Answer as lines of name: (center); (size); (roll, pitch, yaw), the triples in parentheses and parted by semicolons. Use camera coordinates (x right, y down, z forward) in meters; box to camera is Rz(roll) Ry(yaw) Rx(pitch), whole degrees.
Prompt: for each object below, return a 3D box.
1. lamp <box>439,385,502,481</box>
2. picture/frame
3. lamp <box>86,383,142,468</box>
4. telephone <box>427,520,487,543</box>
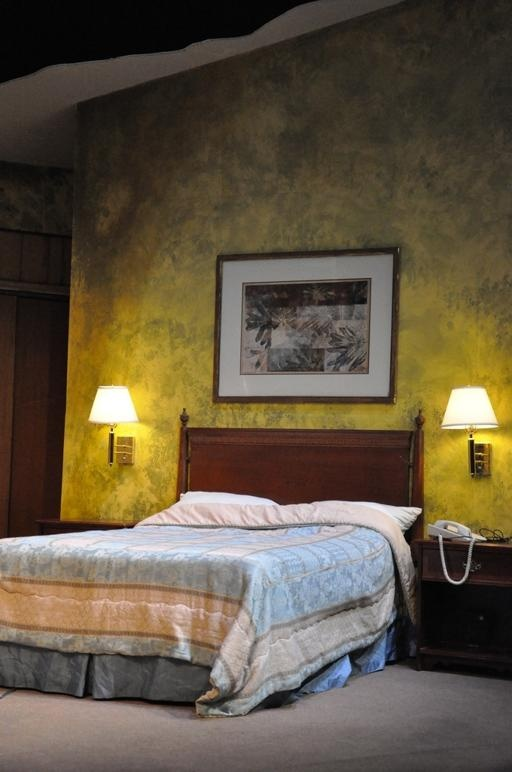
lamp: (1.187, 0.261, 4.061); (0.315, 0.489, 0.368); (0, -10, 16)
picture/frame: (0.361, -0.367, 4.614); (1.063, 0.863, 0.043); (1, -3, 15)
lamp: (-0.973, 0.263, 4.864); (0.346, 0.575, 0.335); (2, 6, 1)
telephone: (0.966, 0.706, 3.547); (0.186, 0.060, 0.136); (0, -5, 28)
